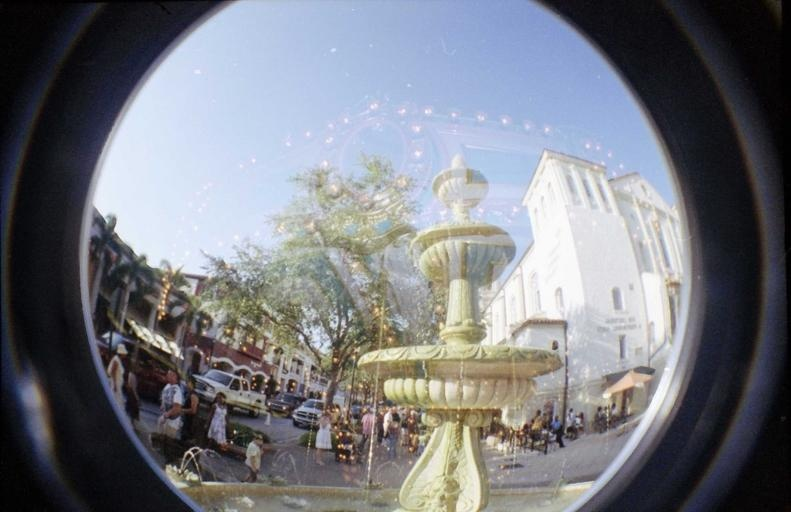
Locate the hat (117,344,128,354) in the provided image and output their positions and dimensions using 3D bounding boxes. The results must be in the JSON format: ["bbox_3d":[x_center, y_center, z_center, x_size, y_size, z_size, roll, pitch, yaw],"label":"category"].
[{"bbox_3d":[-3.497,1.162,6.317,0.133,0.126,0.130,1,-4,-41],"label":"hat"}]

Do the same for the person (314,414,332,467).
[{"bbox_3d":[-0.851,2.137,5.902,0.167,0.496,0.714,1,5,-8],"label":"person"}]
